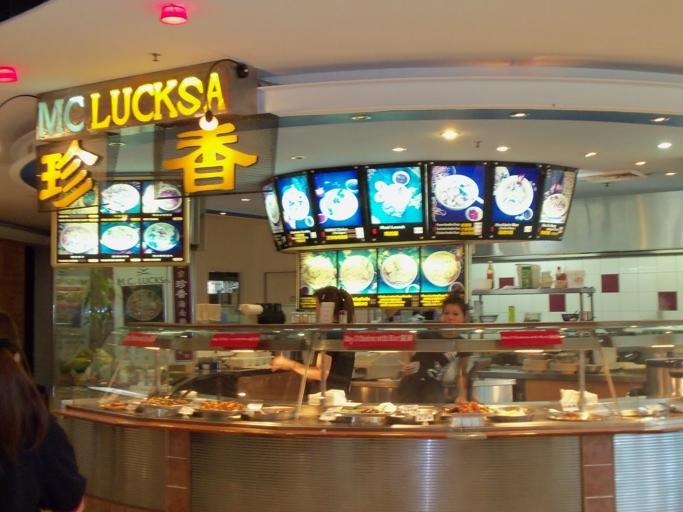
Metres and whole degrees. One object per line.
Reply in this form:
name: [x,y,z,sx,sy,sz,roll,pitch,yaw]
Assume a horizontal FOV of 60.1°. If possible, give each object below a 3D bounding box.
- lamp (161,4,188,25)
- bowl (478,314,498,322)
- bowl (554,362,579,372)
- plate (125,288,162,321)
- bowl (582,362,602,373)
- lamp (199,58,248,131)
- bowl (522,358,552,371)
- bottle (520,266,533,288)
lamp: [-0.942,-1.379,3.368,0.127,0.040,0.101,0,1,11]
bowl: [1.697,0.718,6.747,0.290,0.063,0.223,-1,-5,-1]
bowl: [1.357,0.674,3.561,0.117,0.036,0.072,1,-4,4]
plate: [-2.338,0.582,7.063,0.655,0.390,0.057,0,-7,16]
bowl: [1.503,0.668,3.520,0.110,0.028,0.090,-1,-3,17]
lamp: [-0.813,-1.111,4.056,0.206,0.477,0.388,5,16,31]
bowl: [1.175,0.656,3.536,0.121,0.037,0.121,1,-1,0]
bottle: [2.269,0.252,7.210,0.136,0.276,0.209,-2,14,8]
